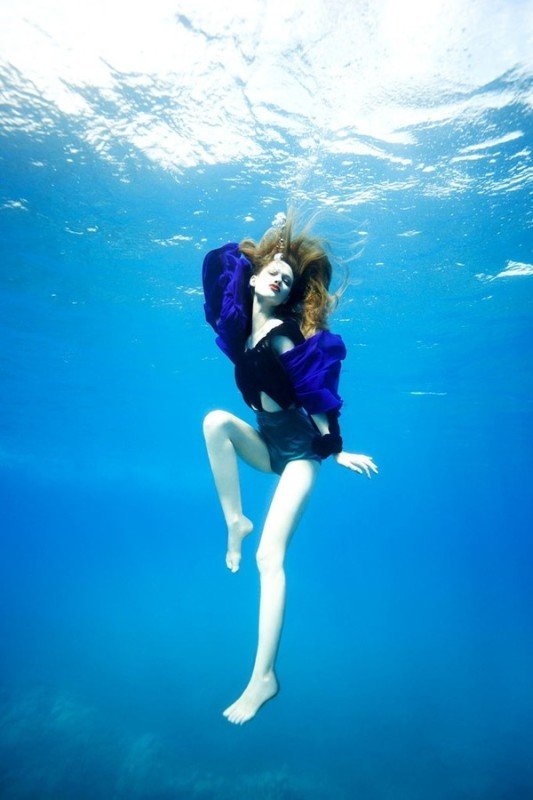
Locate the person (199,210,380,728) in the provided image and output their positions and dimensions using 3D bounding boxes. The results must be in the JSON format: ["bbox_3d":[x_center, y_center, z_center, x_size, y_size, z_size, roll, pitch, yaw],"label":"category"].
[{"bbox_3d":[0.082,0.469,6.201,1.189,3.120,1.388,3,3,-33],"label":"person"}]
